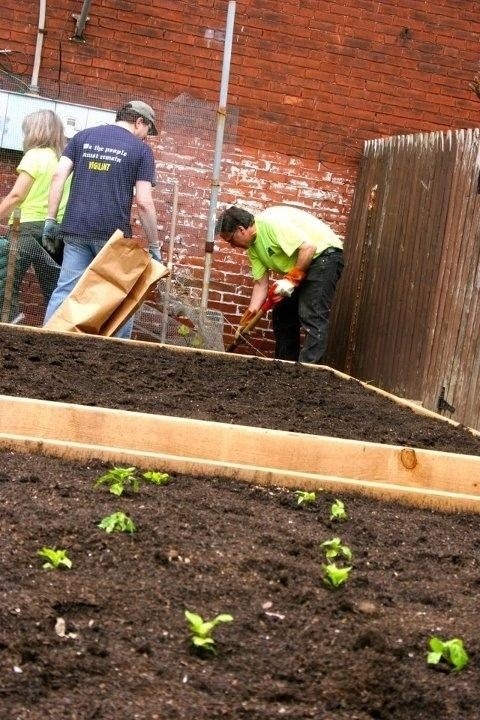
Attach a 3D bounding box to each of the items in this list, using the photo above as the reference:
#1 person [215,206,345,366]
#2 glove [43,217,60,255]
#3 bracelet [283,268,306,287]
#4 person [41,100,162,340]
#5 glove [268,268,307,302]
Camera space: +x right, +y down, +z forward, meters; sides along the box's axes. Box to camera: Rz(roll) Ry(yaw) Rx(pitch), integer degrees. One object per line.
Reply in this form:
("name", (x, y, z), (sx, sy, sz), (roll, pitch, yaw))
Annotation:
("person", (0.307, -0.495, 5.669), (0.721, 1.023, 0.931), (12, 13, 17))
("glove", (-1.149, -0.775, 5.249), (0.052, 0.176, 0.133), (1, 18, 26))
("bracelet", (0.355, -0.540, 5.425), (0.096, 0.093, 0.115), (3, 26, -22))
("person", (-0.807, -0.852, 5.158), (0.714, 1.450, 0.420), (5, 12, -15))
("glove", (0.299, -0.479, 5.389), (0.246, 0.096, 0.151), (-37, 13, -3))
